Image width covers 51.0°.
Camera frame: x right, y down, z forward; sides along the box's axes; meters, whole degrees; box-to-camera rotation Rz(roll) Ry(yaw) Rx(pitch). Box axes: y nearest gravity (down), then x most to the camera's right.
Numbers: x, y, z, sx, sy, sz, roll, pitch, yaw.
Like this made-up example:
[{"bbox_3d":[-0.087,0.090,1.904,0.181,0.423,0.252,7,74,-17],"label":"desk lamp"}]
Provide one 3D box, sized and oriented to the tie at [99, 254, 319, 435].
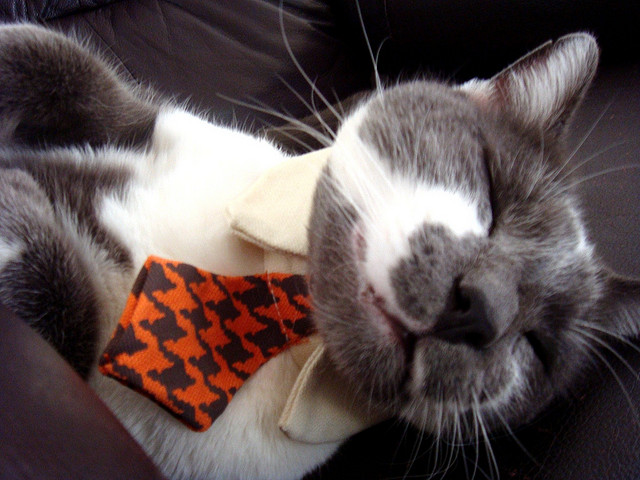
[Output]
[{"bbox_3d":[-0.138,0.089,0.836,0.221,0.072,0.256,36,64,-26],"label":"tie"}]
